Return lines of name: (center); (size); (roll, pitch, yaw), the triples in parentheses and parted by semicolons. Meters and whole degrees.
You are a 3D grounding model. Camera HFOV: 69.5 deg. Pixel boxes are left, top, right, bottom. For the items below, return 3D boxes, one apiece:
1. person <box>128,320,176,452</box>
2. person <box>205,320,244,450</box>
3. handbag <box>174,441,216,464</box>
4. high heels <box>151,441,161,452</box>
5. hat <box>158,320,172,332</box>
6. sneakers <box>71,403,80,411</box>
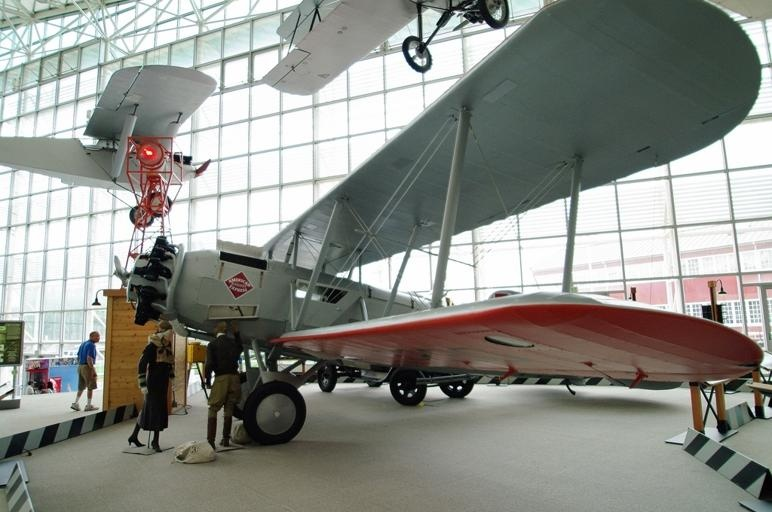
person: (-3.839, 2.095, 9.132); (0.668, 2.040, 0.985); (-2, 3, -22)
person: (-2.603, 2.086, 8.959); (0.570, 1.976, 0.908); (-2, 3, -15)
handbag: (-2.887, 2.973, 8.416); (0.376, 0.131, 0.345); (1, -2, 5)
high heels: (-3.640, 3.008, 8.831); (0.128, 0.134, 0.237); (-2, 3, -29)
hat: (-3.634, 1.146, 9.136); (0.194, 0.185, 0.200); (15, -3, -23)
sneakers: (-6.668, 3.232, 11.959); (0.317, 0.137, 0.140); (-13, -16, 43)
